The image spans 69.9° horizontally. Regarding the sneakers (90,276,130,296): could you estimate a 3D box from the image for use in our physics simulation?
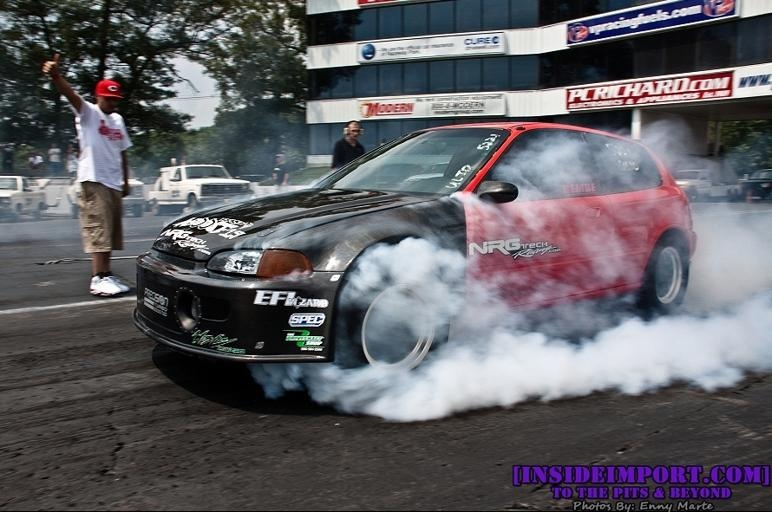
[{"bbox_3d":[-3.215,0.360,6.487,0.541,0.125,0.227,2,8,18],"label":"sneakers"}]

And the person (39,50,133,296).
[{"bbox_3d":[-3.318,-0.899,6.399,0.756,2.750,0.839,-6,12,-18],"label":"person"}]

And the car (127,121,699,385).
[{"bbox_3d":[0.442,-0.511,4.965,4.884,0.990,2.182,-14,27,-31],"label":"car"}]
